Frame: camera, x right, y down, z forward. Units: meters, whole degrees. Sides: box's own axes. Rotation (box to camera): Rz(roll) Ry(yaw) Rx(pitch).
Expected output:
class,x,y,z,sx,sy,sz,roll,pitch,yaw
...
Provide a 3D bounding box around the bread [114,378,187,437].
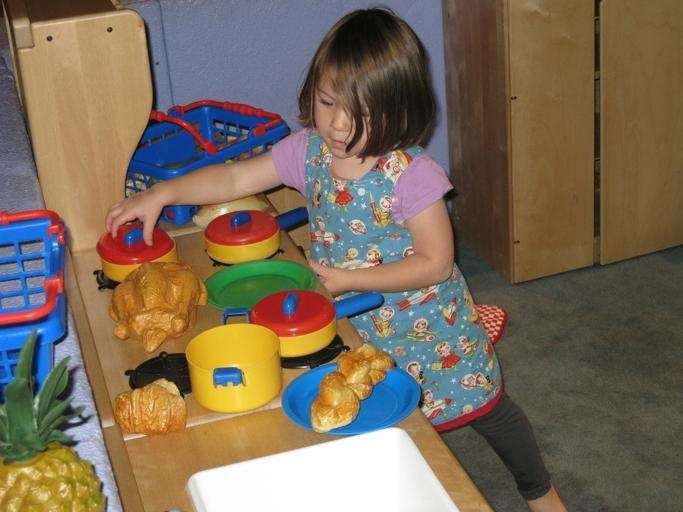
class,x,y,z,sx,sy,sz,roll,pitch,yaw
bread,-0.301,0.234,0.958,0.110,0.045,0.084,-6,41,-31

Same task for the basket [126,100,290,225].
class,x,y,z,sx,sy,sz,roll,pitch,yaw
basket,-0.418,-0.304,1.794,0.338,0.240,0.496,16,34,27
